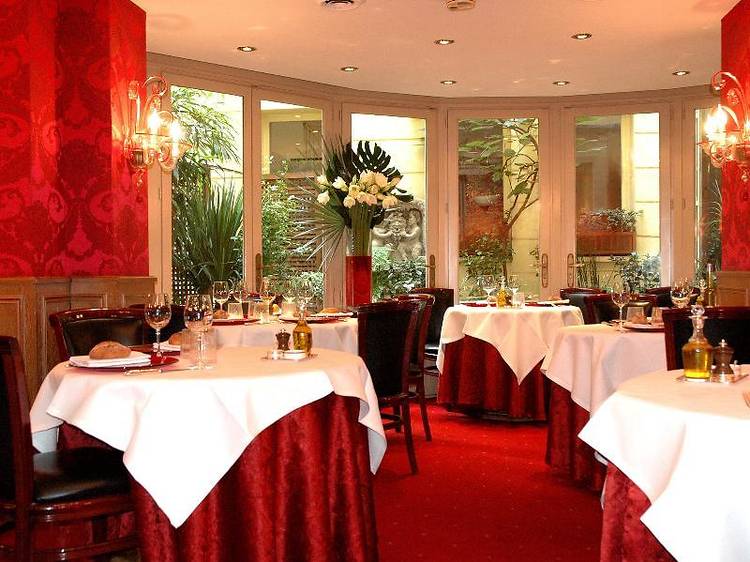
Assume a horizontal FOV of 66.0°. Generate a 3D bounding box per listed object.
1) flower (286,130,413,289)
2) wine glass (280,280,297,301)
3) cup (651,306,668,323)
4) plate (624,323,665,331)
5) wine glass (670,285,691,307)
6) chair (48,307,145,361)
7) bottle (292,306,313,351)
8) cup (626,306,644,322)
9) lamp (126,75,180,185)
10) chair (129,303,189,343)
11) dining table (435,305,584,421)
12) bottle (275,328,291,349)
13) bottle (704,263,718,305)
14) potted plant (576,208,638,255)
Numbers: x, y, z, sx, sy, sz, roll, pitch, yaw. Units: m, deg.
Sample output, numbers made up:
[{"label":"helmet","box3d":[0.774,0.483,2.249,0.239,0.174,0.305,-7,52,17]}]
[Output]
[{"label":"flower","box3d":[-0.103,-0.729,6.145,0.976,1.280,0.923,-6,3,-30]},{"label":"wine glass","box3d":[-0.604,0.063,4.078,0.112,0.200,0.119,-2,3,-14]},{"label":"cup","box3d":[1.666,0.197,3.385,0.108,0.113,0.110,0,2,0]},{"label":"plate","box3d":[1.654,0.277,3.552,0.216,0.041,0.214,0,0,21]},{"label":"wine glass","box3d":[1.963,0.083,3.699,0.097,0.146,0.268,0,1,32]},{"label":"chair","box3d":[-1.473,0.243,3.106,0.298,0.449,0.365,-3,-4,43]},{"label":"bottle","box3d":[-0.330,0.238,2.654,0.079,0.176,0.306,0,0,-7]},{"label":"cup","box3d":[1.677,0.202,3.702,0.107,0.102,0.169,0,1,26]},{"label":"lamp","box3d":[-1.854,-1.339,4.973,0.483,0.867,0.671,-3,6,-10]},{"label":"chair","box3d":[-1.145,0.218,3.059,0.244,0.312,0.244,-1,-8,11]},{"label":"dining table","box3d":[1.365,0.944,5.862,1.423,1.081,1.397,26,-22,-34]},{"label":"bottle","box3d":[-0.412,0.266,2.712,0.078,0.111,0.086,-2,-3,43]},{"label":"bottle","box3d":[4.251,0.018,7.315,0.109,0.519,0.370,0,1,29]},{"label":"potted plant","box3d":[3.125,-0.741,7.886,0.712,0.729,0.427,-1,22,-1]}]
